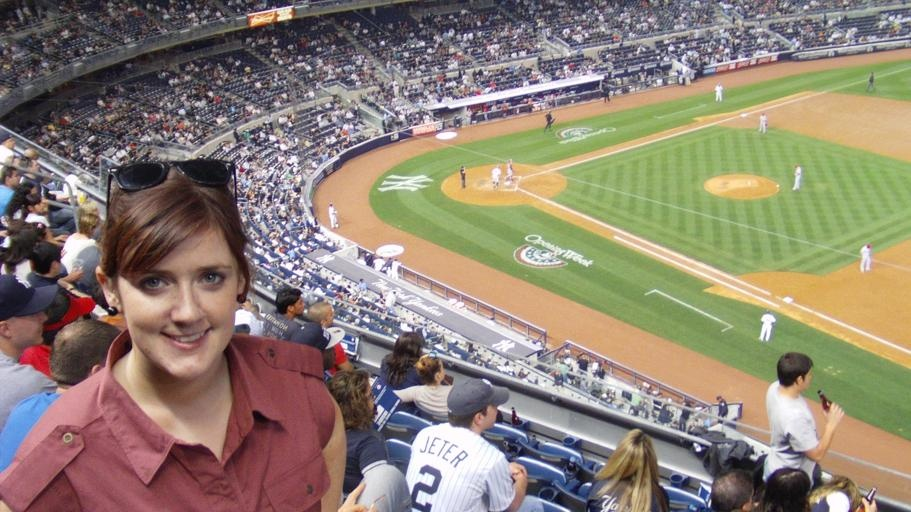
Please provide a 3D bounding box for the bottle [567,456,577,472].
[{"bbox_3d":[5.292,9.490,40.944,0.457,0.639,0.291,-2,-28,41],"label":"bottle"}]
